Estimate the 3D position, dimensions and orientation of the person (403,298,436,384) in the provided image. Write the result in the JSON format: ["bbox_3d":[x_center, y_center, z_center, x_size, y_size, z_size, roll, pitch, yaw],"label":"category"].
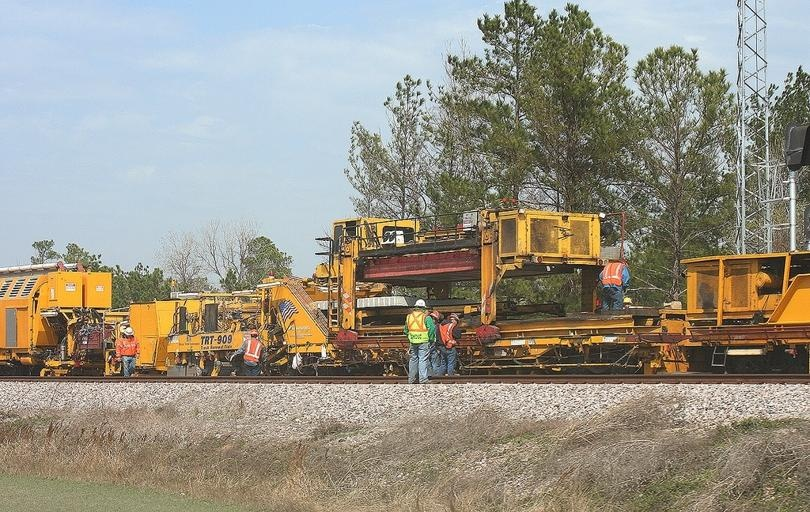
[{"bbox_3d":[0.450,2.533,37.013,0.859,2.501,0.872,-1,-6,-2],"label":"person"}]

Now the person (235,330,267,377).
[{"bbox_3d":[-5.106,3.536,41.776,1.010,2.233,0.652,4,20,-6],"label":"person"}]

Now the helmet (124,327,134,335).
[{"bbox_3d":[-9.758,2.682,44.028,0.286,0.117,0.318,29,8,39],"label":"helmet"}]

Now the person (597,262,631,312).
[{"bbox_3d":[6.616,0.795,39.302,0.819,2.121,0.722,10,38,19],"label":"person"}]
